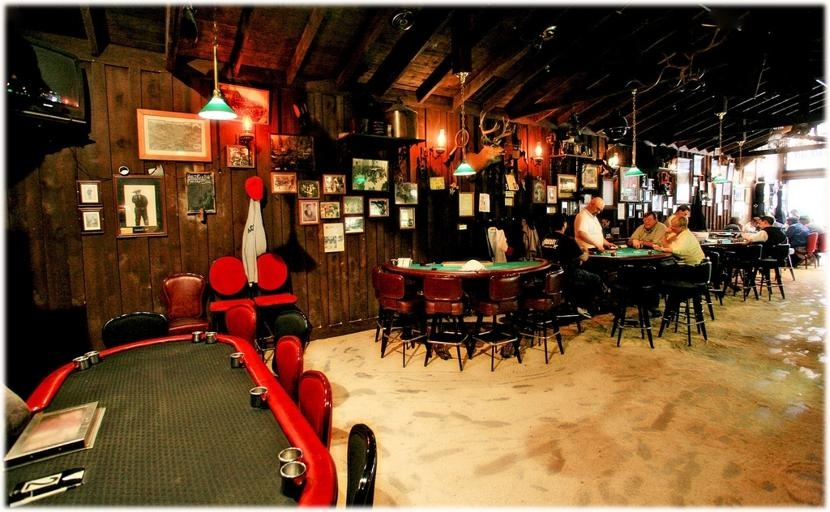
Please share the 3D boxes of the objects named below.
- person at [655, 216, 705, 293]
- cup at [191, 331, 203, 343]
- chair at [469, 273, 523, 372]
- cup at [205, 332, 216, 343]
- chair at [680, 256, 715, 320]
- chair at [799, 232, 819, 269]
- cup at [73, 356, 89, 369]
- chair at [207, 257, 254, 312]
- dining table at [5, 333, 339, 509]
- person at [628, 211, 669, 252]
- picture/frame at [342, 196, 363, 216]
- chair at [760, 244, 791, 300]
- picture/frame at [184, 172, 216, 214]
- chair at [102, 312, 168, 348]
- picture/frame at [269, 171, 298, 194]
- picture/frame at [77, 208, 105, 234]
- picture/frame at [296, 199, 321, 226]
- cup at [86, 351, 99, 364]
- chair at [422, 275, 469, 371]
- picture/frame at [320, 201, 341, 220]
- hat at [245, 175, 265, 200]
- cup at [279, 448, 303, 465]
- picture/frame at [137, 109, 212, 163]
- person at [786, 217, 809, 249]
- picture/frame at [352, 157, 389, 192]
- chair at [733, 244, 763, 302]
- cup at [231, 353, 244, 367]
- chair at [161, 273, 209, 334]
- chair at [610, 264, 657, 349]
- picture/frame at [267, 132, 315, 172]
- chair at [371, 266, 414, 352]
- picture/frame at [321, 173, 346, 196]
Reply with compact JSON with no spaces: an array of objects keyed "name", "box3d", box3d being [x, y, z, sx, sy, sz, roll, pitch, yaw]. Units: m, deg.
[{"name":"person","box3d":[4.335,-0.057,8.871,0.810,1.224,0.626,3,14,-3]},{"name":"cup","box3d":[-2.537,0.940,6.140,0.132,0.099,0.100,4,-7,-35]},{"name":"chair","box3d":[1.226,0.830,8.110,0.800,1.356,1.527,0,13,6]},{"name":"cup","box3d":[-2.354,0.945,6.048,0.100,0.092,0.125,-6,-10,43]},{"name":"chair","box3d":[4.691,0.546,8.749,0.569,0.851,0.545,-7,-3,35]},{"name":"chair","box3d":[9.916,-0.108,13.279,0.418,0.639,0.451,-4,-16,29]},{"name":"cup","box3d":[-3.581,1.141,5.638,0.129,0.117,0.147,1,-1,6]},{"name":"chair","box3d":[-2.827,0.426,7.947,0.577,0.740,0.777,-7,14,-21]},{"name":"dining table","box3d":[-2.172,1.696,5.130,1.677,0.660,2.376,-3,14,-19]},{"name":"person","box3d":[4.492,-0.489,10.257,0.676,0.663,0.896,7,19,38]},{"name":"picture/frame","box3d":[-1.115,-0.868,9.103,0.346,0.257,0.043,15,-13,-31]},{"name":"chair","box3d":[7.377,0.309,10.866,0.683,0.956,0.668,-7,1,20]},{"name":"picture/frame","box3d":[-3.299,-0.958,8.044,0.438,0.635,0.143,-7,16,-21]},{"name":"chair","box3d":[-3.571,0.898,6.747,0.576,0.647,0.575,-2,10,-31]},{"name":"picture/frame","box3d":[-2.184,-1.193,8.547,0.457,0.337,0.041,0,5,-26]},{"name":"picture/frame","box3d":[-4.624,-0.499,7.514,0.285,0.361,0.085,-8,16,-26]},{"name":"picture/frame","box3d":[-1.813,-0.724,8.751,0.476,0.455,0.036,7,5,-29]},{"name":"cup","box3d":[-3.557,1.108,5.749,0.139,0.118,0.128,3,-2,0]},{"name":"chair","box3d":[0.465,0.864,7.999,0.680,1.366,1.228,-1,14,2]},{"name":"picture/frame","box3d":[-1.479,-0.774,8.925,0.378,0.281,0.036,-1,0,-32]},{"name":"hat","box3d":[-2.543,-1.057,8.308,0.283,0.386,0.326,-5,14,-13]},{"name":"cup","box3d":[-1.145,1.824,4.829,0.179,0.116,0.175,2,-3,0]},{"name":"picture/frame","box3d":[-3.649,-1.787,7.821,0.993,0.682,0.032,-1,6,-22]},{"name":"person","box3d":[9.852,-0.587,13.634,0.465,0.666,1.173,7,15,30]},{"name":"picture/frame","box3d":[-0.809,-1.412,9.233,0.870,0.571,0.048,-6,12,-45]},{"name":"chair","box3d":[6.739,0.298,10.704,0.548,0.976,0.530,4,-1,-9]},{"name":"cup","box3d":[-1.924,1.118,5.641,0.156,0.096,0.121,1,-1,12]},{"name":"chair","box3d":[-3.354,0.664,7.698,0.633,0.709,0.841,-7,14,-23]},{"name":"chair","box3d":[3.465,0.744,8.340,0.649,1.214,0.891,4,15,20]},{"name":"picture/frame","box3d":[-2.071,-1.687,8.567,0.789,0.566,0.098,-1,5,-20]},{"name":"chair","box3d":[-0.354,0.797,8.208,0.620,1.276,1.065,-3,14,-4]},{"name":"picture/frame","box3d":[-1.417,-1.212,8.919,0.450,0.332,0.043,0,0,-30]}]
